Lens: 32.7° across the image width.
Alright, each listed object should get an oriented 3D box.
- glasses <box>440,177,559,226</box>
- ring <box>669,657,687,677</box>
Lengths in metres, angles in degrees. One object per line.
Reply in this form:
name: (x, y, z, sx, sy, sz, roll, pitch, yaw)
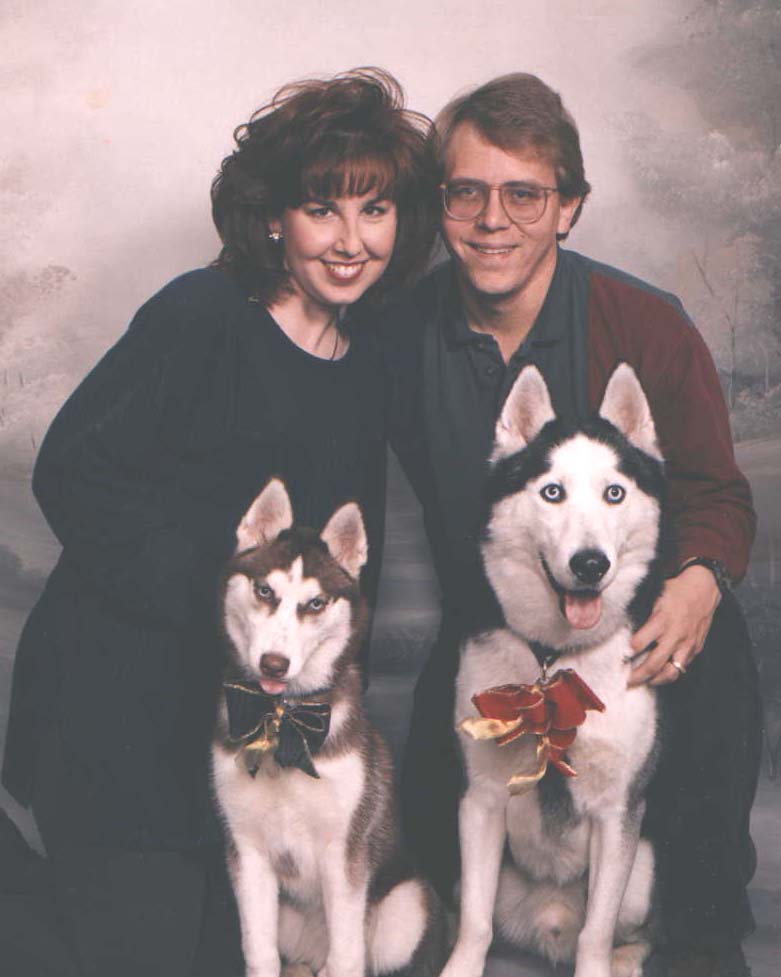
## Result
glasses: (0.255, -0.732, 3.389, 0.290, 0.110, 0.176, -4, 14, 13)
ring: (0.734, 0.456, 3.416, 0.011, 0.041, 0.038, -43, 43, -3)
